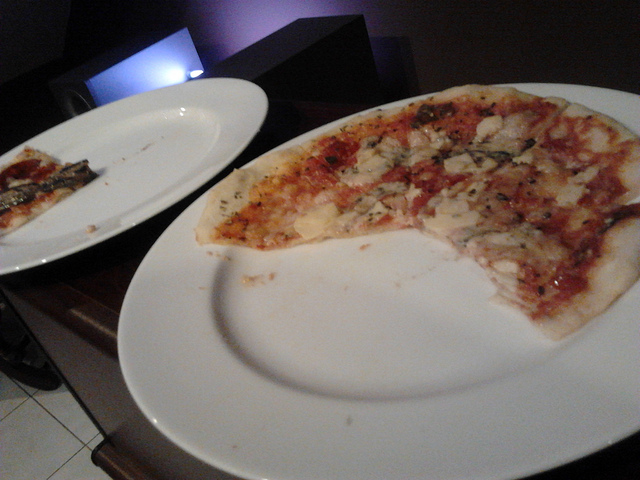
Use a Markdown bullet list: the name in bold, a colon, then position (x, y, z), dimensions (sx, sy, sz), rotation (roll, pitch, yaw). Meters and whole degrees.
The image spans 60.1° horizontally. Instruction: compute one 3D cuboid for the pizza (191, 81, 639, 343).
- **pizza**: position (0.255, -0.039, 1.237), dimensions (0.785, 0.078, 0.537), rotation (-8, 42, 13)
